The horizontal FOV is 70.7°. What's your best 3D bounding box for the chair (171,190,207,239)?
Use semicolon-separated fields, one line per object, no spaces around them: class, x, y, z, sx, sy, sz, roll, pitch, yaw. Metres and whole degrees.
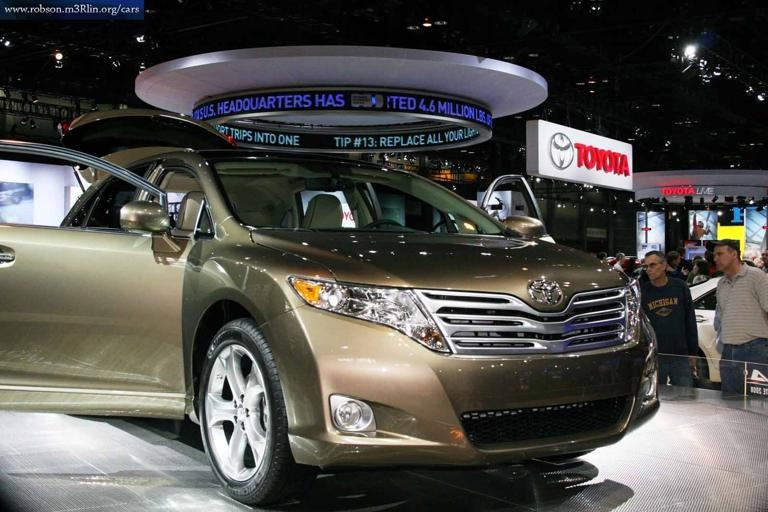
chair;-1.228;-0.271;3.614;0.216;0.341;0.201;-1;-6;16

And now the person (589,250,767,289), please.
person;4.378;0.182;7.942;1.903;0.627;0.846;-1;-1;4

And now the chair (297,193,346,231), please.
chair;-0.441;-0.368;4.120;0.245;0.320;0.176;-5;34;-13
